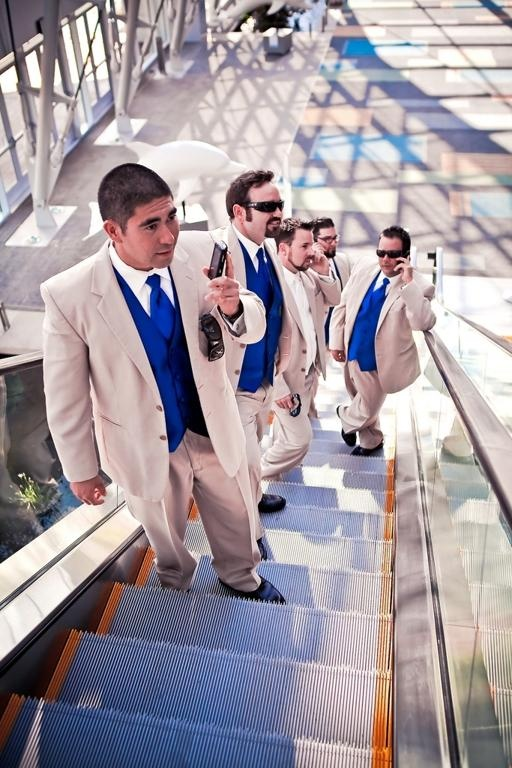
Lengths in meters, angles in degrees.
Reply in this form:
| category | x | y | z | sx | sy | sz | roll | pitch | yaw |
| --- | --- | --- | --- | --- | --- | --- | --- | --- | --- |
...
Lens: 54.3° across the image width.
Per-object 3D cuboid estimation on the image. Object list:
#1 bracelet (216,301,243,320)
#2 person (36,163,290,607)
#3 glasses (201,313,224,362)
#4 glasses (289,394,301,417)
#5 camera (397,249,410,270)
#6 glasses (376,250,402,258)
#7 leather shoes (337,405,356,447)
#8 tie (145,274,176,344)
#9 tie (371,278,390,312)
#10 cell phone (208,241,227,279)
| category | x | y | z | sx | sy | sz | roll | pitch | yaw |
| --- | --- | --- | --- | --- | --- | --- | --- | --- | --- |
| bracelet | -0.088 | -0.238 | 1.701 | 0.057 | 0.044 | 0.073 | 0 | 56 | 1 |
| person | -0.311 | 0.168 | 1.895 | 0.805 | 1.845 | 0.485 | -13 | 29 | -11 |
| glasses | -0.152 | -0.164 | 1.726 | 0.088 | 0.152 | 0.039 | -12 | 21 | -25 |
| glasses | 0.229 | 0.142 | 3.314 | 0.048 | 0.131 | 0.103 | 10 | 9 | 17 |
| camera | 1.082 | -0.905 | 3.677 | 0.106 | 0.064 | 0.141 | 13 | 74 | 25 |
| glasses | 0.960 | -0.952 | 3.648 | 0.176 | 0.063 | 0.041 | -1 | 29 | 9 |
| leather shoes | 0.832 | 0.383 | 4.579 | 0.138 | 0.387 | 0.169 | -9 | 8 | 4 |
| tie | -0.321 | -0.249 | 1.709 | 0.087 | 0.055 | 0.253 | -19 | 59 | 7 |
| tie | 0.946 | -0.720 | 3.912 | 0.156 | 0.223 | 0.164 | -22 | 32 | -26 |
| cell phone | -0.122 | -0.384 | 1.569 | 0.025 | 0.104 | 0.106 | 10 | -4 | -32 |
